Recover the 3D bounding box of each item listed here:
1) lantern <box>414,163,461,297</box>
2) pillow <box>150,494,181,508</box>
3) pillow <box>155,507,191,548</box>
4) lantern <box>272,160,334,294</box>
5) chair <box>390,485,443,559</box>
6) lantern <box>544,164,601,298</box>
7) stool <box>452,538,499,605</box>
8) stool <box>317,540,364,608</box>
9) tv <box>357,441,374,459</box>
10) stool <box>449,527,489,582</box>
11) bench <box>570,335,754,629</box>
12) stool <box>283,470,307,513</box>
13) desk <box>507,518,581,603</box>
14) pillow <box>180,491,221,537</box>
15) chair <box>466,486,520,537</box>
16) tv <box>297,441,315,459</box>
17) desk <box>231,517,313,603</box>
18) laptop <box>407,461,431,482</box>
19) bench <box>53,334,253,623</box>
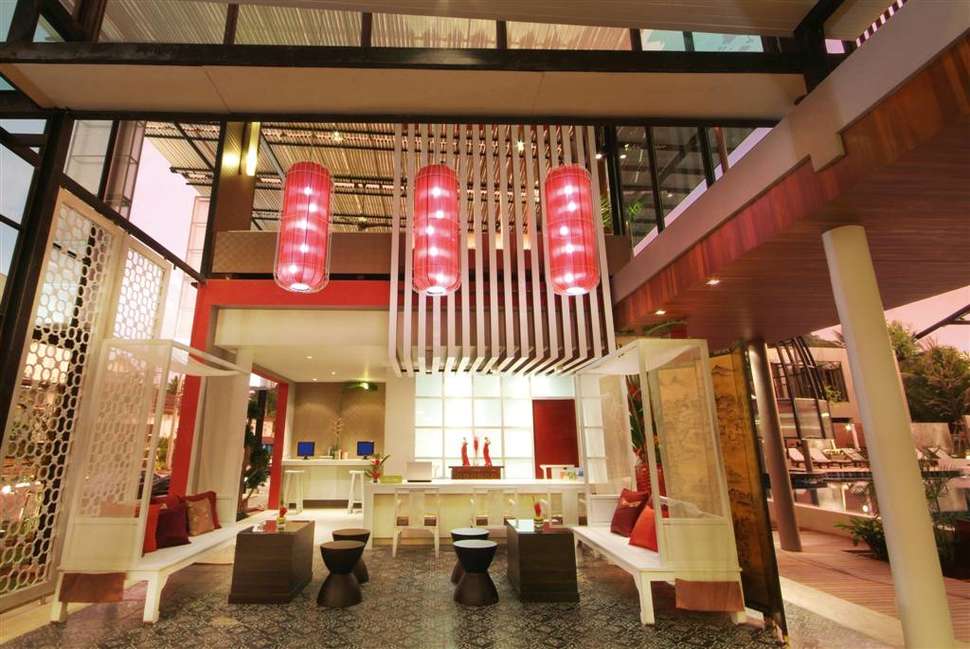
[{"bbox_3d":[-0.530,-1.082,6.254,0.483,1.459,0.267,1,-5,-14],"label":"lantern"},{"bbox_3d":[-4.166,2.285,7.419,0.215,0.086,0.210,1,-3,-2],"label":"pillow"},{"bbox_3d":[-4.013,2.506,7.103,0.225,0.528,0.583,-20,-20,13],"label":"pillow"},{"bbox_3d":[-1.958,-1.088,6.125,0.552,1.436,0.380,2,-6,-19],"label":"lantern"},{"bbox_3d":[-1.098,3.026,8.927,0.984,1.338,1.014,0,-7,-5],"label":"chair"},{"bbox_3d":[0.923,-1.026,6.047,0.528,1.349,0.285,-1,-5,7],"label":"lantern"},{"bbox_3d":[-0.110,2.879,6.707,0.589,0.601,0.653,-6,-12,26],"label":"stool"},{"bbox_3d":[-1.677,2.883,6.656,0.620,0.658,0.655,1,-8,-4],"label":"stool"},{"bbox_3d":[-2.618,2.717,12.350,0.438,0.421,0.142,1,-22,-7],"label":"tv"},{"bbox_3d":[-0.202,2.961,7.506,0.610,0.634,0.651,-1,-2,5],"label":"stool"},{"bbox_3d":[2.199,1.909,6.862,1.042,2.589,2.830,1,-14,1],"label":"bench"},{"bbox_3d":[-4.066,3.561,12.252,0.421,0.866,0.582,4,-6,-37],"label":"stool"},{"bbox_3d":[0.704,2.845,7.034,0.749,0.797,1.319,-1,-10,-3],"label":"desk"},{"bbox_3d":[-3.889,2.575,7.703,0.240,0.444,0.659,-12,-7,5],"label":"pillow"},{"bbox_3d":[0.113,2.876,9.099,0.895,0.614,0.852,-1,-3,4],"label":"chair"},{"bbox_3d":[-4.013,2.792,12.653,0.418,0.402,0.143,1,-27,-10],"label":"tv"},{"bbox_3d":[-2.524,2.812,7.025,0.769,0.888,1.360,0,-13,-3],"label":"desk"},{"bbox_3d":[-1.062,2.361,9.210,0.414,0.254,0.273,1,-10,-7],"label":"laptop"},{"bbox_3d":[-4.235,1.944,7.161,1.001,2.551,2.880,1,-14,-9],"label":"bench"}]
